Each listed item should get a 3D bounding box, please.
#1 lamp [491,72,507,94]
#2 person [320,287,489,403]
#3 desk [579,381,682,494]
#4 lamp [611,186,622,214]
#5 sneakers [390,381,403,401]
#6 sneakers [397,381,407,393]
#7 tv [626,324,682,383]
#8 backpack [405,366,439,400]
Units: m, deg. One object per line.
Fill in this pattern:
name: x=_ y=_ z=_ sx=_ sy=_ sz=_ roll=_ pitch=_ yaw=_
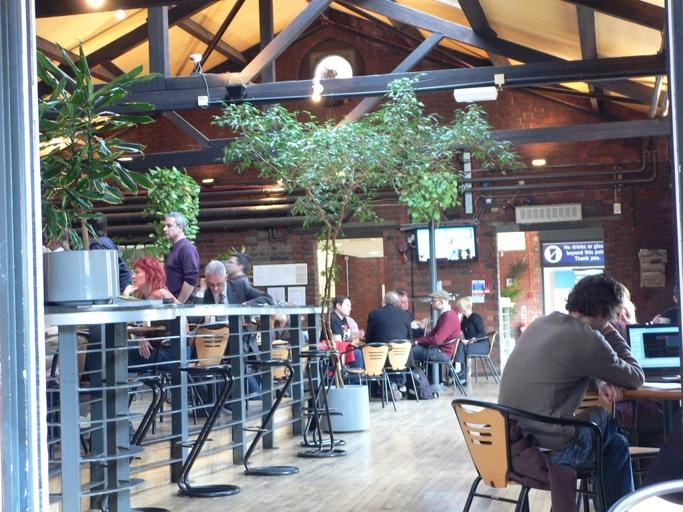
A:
lamp: x=1.691 y=-1.843 z=10.368 sx=0.131 sy=0.188 sz=0.046 roll=3 pitch=5 yaw=11
person: x=0.841 y=1.024 z=12.412 sx=1.554 sy=1.952 sz=0.867 roll=0 pitch=-4 yaw=-11
desk: x=1.799 y=1.042 z=5.897 sx=0.436 sy=0.330 sz=0.472 roll=-3 pitch=3 yaw=-15
lamp: x=4.260 y=-0.841 z=14.977 sx=0.125 sy=0.441 sz=0.140 roll=-1 pitch=9 yaw=-25
sneakers: x=0.655 y=1.630 z=11.689 sx=0.125 sy=0.294 sz=0.108 roll=-6 pitch=6 yaw=27
sneakers: x=0.746 y=1.627 z=12.027 sx=0.123 sy=0.135 sz=0.139 roll=-1 pitch=-4 yaw=3
tv: x=2.067 y=0.656 z=6.369 sx=0.433 sy=0.433 sz=0.147 roll=-1 pitch=-16 yaw=4
backpack: x=0.976 y=1.561 z=11.873 sx=0.322 sy=0.181 sz=0.408 roll=2 pitch=1 yaw=-43
